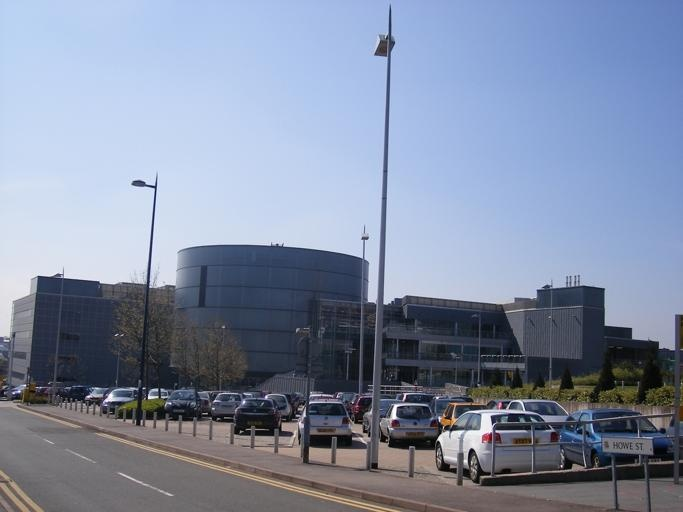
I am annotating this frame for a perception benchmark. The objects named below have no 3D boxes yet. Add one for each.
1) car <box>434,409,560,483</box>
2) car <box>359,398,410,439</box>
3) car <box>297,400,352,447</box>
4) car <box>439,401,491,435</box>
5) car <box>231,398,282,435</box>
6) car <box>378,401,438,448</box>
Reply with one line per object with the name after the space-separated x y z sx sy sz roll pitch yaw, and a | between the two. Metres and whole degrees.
5.114 6.234 28.804 2.400 2.046 5.468 1 -7 -4 | car
1.781 8.079 43.350 1.680 1.454 3.106 1 -6 -5 | car
-0.555 7.032 36.708 2.599 2.506 4.182 0 -11 -5 | car
5.398 7.001 38.886 1.786 1.561 2.976 1 -6 -10 | car
-3.987 7.503 40.800 2.066 1.683 1.326 2 -12 -3 | car
3.004 7.218 37.065 2.125 1.933 3.226 0 -10 -5 | car
